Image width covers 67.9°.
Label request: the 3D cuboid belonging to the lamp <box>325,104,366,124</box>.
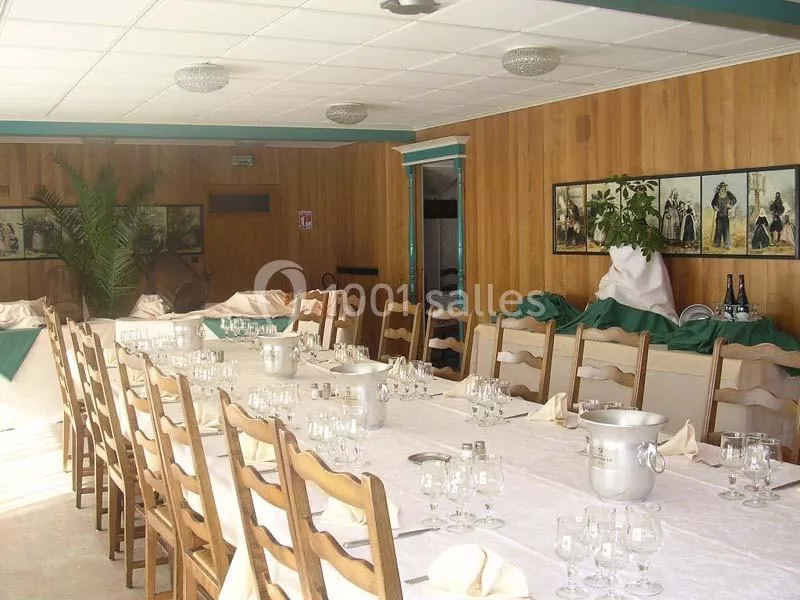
[{"bbox_3d":[-0.566,-2.011,6.368,0.413,0.217,0.406,-2,6,-7],"label":"lamp"}]

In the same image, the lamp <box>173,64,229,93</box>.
[{"bbox_3d":[-1.590,-1.787,4.791,0.393,0.163,0.254,-2,6,-12],"label":"lamp"}]
